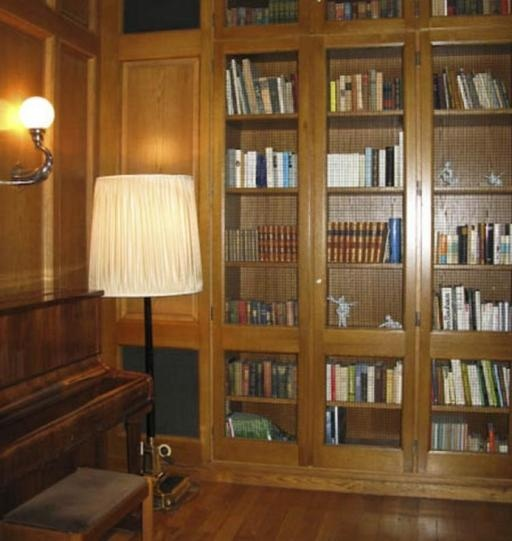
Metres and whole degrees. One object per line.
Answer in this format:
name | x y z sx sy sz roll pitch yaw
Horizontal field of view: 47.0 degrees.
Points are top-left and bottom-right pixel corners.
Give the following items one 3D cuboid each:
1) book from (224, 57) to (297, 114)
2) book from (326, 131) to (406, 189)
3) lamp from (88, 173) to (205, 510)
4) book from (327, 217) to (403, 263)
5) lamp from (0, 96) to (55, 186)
book | 0.041 -1.006 3.192 0.280 0.283 0.114 0 3 8
book | 0.582 -0.587 3.116 0.394 0.283 0.041 1 3 15
lamp | -0.457 0.383 2.586 0.438 1.609 0.580 1 3 10
book | 0.578 -0.169 3.140 0.381 0.230 0.112 1 4 9
lamp | -0.971 -0.565 2.456 0.220 0.442 0.652 -1 4 -18
